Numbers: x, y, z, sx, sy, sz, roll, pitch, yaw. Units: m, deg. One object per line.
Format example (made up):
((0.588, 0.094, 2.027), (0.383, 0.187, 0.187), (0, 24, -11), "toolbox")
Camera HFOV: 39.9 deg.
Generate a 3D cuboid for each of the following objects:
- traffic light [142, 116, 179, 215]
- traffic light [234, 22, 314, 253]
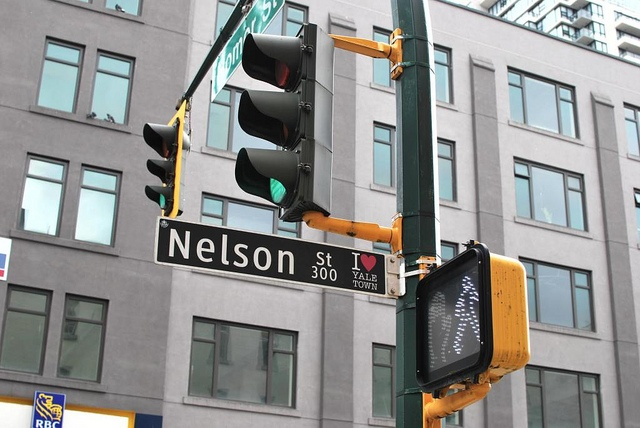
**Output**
((-2.987, -0.940, 16.877), (0.609, 1.828, 1.194), (4, 6, -33), "traffic light")
((-0.755, -1.512, 14.096), (1.183, 3.155, 0.839), (7, 5, -7), "traffic light")
